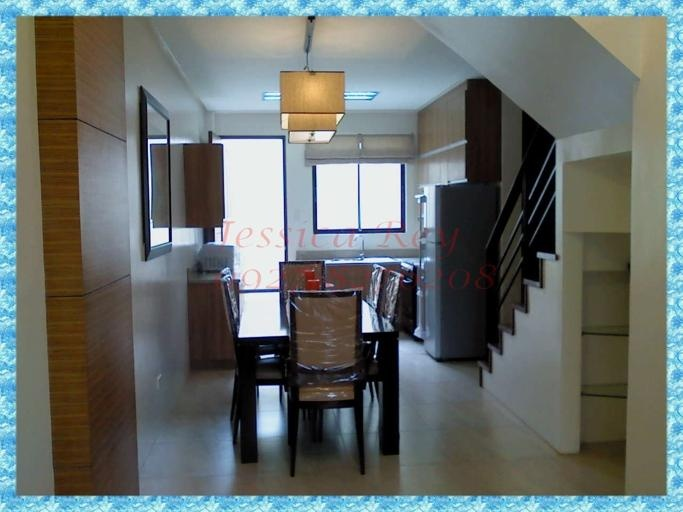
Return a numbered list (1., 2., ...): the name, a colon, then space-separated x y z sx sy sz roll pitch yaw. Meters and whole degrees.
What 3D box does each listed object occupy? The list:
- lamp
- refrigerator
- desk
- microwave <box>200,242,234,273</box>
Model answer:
1. lamp: -0.252 -1.261 4.777 0.592 0.642 0.605 -14 37 -22
2. refrigerator: 1.234 0.177 6.041 0.718 1.795 0.504 1 10 11
3. desk: -1.328 0.654 6.264 0.497 0.888 0.924 -3 5 -3
4. microwave: -1.359 0.023 6.362 0.319 0.240 0.316 0 4 -6
